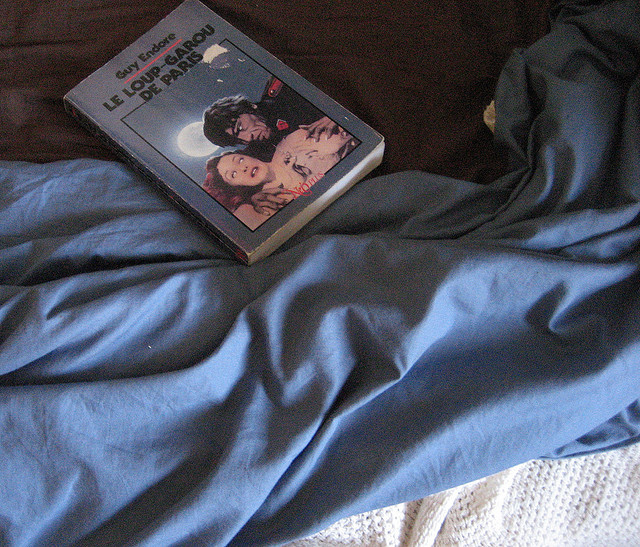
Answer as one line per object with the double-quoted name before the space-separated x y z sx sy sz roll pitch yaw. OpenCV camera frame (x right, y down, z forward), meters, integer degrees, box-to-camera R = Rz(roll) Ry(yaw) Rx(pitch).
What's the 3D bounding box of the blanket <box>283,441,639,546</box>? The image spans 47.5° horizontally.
"blanket" 0.211 0.337 1.075 0.419 0.210 0.042 -9 100 17
